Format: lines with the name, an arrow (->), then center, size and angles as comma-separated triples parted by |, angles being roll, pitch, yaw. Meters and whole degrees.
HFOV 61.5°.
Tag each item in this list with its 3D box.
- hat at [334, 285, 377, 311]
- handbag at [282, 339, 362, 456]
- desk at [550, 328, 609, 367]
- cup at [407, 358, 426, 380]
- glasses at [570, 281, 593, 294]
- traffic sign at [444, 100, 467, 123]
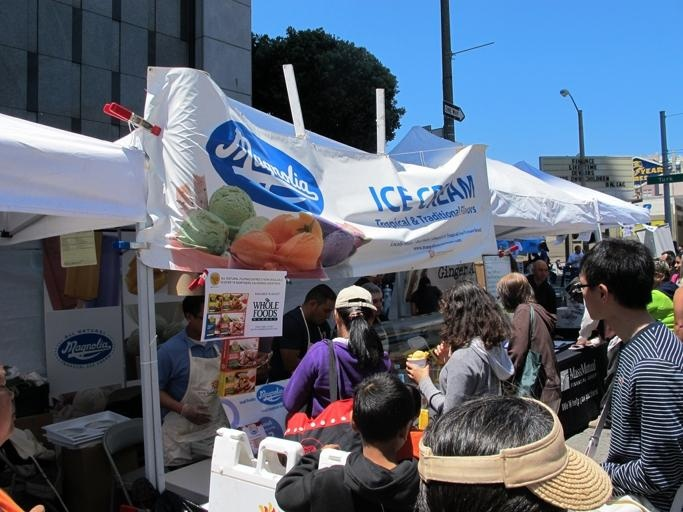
hat -> 0.111, 0.323, 4.368 | 0.234, 0.153, 0.344 | 0, -7, 0
handbag -> -0.036, 0.881, 3.593 | 0.219, 0.655, 0.450 | -11, -5, -2
desk -> 3.031, 1.177, 7.292 | 0.732, 0.490, 0.709 | -4, 2, -40
cup -> 0.535, 0.835, 4.198 | 0.122, 0.122, 0.116 | -5, -9, -1
glasses -> 1.326, 0.176, 3.211 | 0.095, 0.032, 0.097 | -1, 1, 37
traffic sign -> 2.141, -2.781, 11.077 | 0.371, 0.314, 0.521 | -2, -1, 9
